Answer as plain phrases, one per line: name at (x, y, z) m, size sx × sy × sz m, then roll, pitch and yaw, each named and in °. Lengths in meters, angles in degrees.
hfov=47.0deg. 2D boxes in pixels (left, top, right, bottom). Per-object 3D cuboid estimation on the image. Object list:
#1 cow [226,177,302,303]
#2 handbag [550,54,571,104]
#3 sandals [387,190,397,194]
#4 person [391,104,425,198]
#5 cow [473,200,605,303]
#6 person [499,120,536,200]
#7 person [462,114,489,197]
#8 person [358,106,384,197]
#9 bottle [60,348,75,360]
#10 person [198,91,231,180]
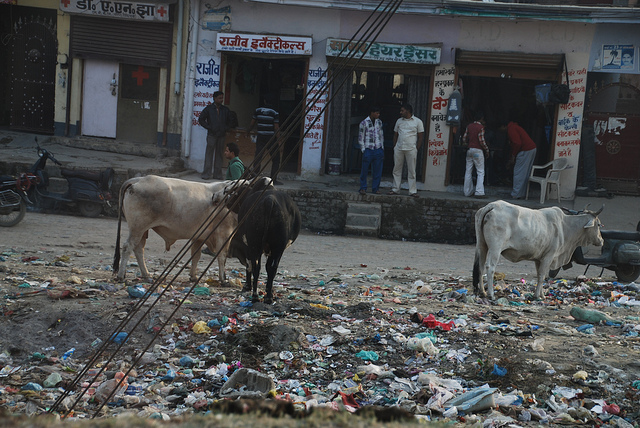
cow at (-0.967, 0.427, 13.004) m, size 1.225 × 2.129 × 2.855 m, roll 4°, pitch 7°, yaw -6°
handbag at (6.520, -3.639, 19.963) m, size 0.603 × 1.334 × 0.389 m, roll 4°, pitch 6°, yaw 0°
sandals at (1.899, -0.579, 19.397) m, size 0.252 × 0.104 × 0.472 m, roll 5°, pitch 7°, yaw 3°
person at (2.276, -1.698, 19.410) m, size 0.732 × 2.350 × 0.840 m, roll 5°, pitch 6°, yaw 5°
cow at (4.078, 0.700, 14.085) m, size 2.267 × 1.773 × 0.532 m, roll 3°, pitch 7°, yaw -17°
person at (5.397, -1.440, 20.060) m, size 0.764 × 2.045 × 0.378 m, roll 7°, pitch 7°, yaw 19°
person at (4.173, -1.584, 19.981) m, size 0.660 × 2.201 × 0.755 m, roll 4°, pitch 6°, yaw 1°
person at (1.309, -1.653, 19.293) m, size 0.662 × 2.227 × 0.778 m, roll 5°, pitch 6°, yaw 2°
bottle at (-3.916, 2.162, 11.428) m, size 0.103 × 0.133 × 0.204 m, roll 11°, pitch 9°, yaw 42°
person at (-2.951, -2.188, 20.494) m, size 0.936 × 2.440 × 0.408 m, roll -2°, pitch 9°, yaw -44°
